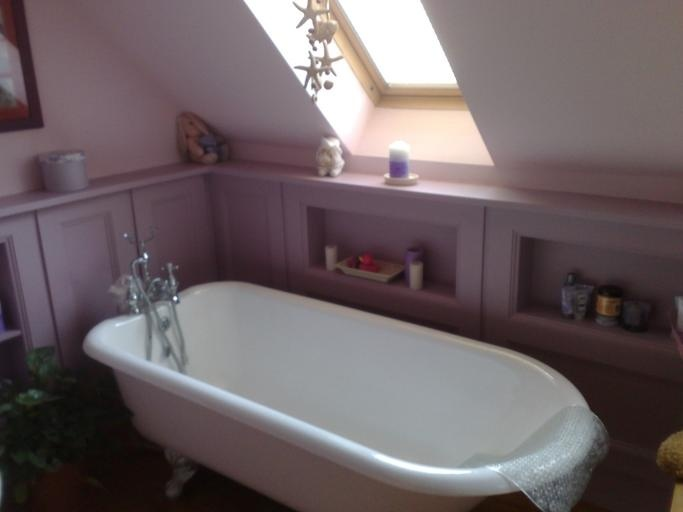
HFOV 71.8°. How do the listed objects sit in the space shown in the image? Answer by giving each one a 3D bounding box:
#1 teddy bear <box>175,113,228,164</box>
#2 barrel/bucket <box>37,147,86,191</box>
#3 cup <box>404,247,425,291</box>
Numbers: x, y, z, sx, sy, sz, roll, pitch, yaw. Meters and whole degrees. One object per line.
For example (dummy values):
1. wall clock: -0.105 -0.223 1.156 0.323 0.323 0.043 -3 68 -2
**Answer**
1. teddy bear: -0.982 -0.834 3.335 0.367 0.358 0.135 -4 9 -20
2. barrel/bucket: -1.596 -0.493 2.747 0.248 0.226 0.235 -2 11 0
3. cup: 0.433 0.073 2.785 0.110 0.229 0.215 2 8 16
